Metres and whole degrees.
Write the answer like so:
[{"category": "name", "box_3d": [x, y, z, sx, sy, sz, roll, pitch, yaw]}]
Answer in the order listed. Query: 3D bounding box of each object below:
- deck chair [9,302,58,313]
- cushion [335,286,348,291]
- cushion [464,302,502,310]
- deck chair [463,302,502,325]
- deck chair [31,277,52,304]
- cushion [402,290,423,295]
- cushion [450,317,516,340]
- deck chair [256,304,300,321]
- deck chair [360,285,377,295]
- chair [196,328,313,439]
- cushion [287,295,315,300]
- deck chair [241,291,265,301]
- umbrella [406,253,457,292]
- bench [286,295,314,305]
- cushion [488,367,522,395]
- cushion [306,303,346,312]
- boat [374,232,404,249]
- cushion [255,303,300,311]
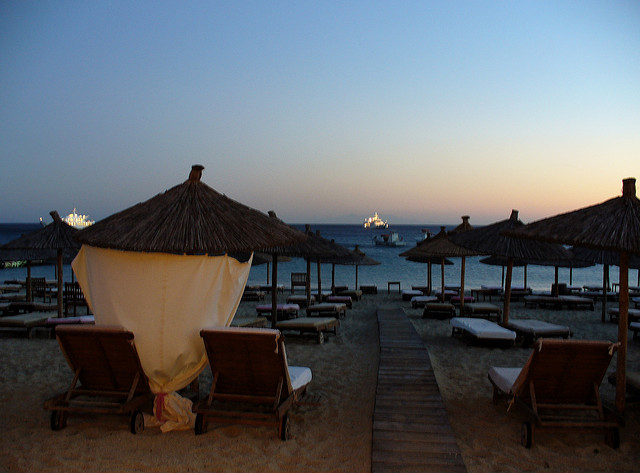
[{"category": "deck chair", "box_3d": [-8.685, 2.151, 17.336, 1.198, 0.417, 1.236, -1, 1, -31]}, {"category": "cushion", "box_3d": [0.943, 2.273, 25.210, 0.506, 0.154, 0.959, -1, 0, 5]}, {"category": "cushion", "box_3d": [4.769, 2.048, 16.918, 0.593, 0.156, 0.639, 2, 0, 9]}, {"category": "deck chair", "box_3d": [4.744, 2.197, 16.867, 0.797, 0.442, 0.670, 0, -1, -2]}, {"category": "deck chair", "box_3d": [-9.838, 1.901, 20.304, 0.611, 0.913, 3.038, -1, 1, -26]}, {"category": "cushion", "box_3d": [3.556, 2.151, 22.342, 0.598, 0.091, 1.914, -1, 0, 4]}, {"category": "cushion", "box_3d": [4.015, 2.283, 14.222, 0.890, 0.305, 1.546, -1, 1, -17]}, {"category": "deck chair", "box_3d": [-1.250, 2.265, 16.935, 0.818, 0.408, 0.891, 0, 0, 11]}, {"category": "deck chair", "box_3d": [2.200, 2.363, 25.306, 0.993, 0.344, 0.534, -1, 1, -31]}, {"category": "chair", "box_3d": [-1.199, 2.452, 10.666, 1.674, 2.040, 1.845, -1, -4, 15]}, {"category": "cushion", "box_3d": [-0.667, 2.158, 20.244, 0.496, 0.135, 0.528, 0, 1, 10]}, {"category": "deck chair", "box_3d": [-2.533, 2.318, 22.668, 1.061, 0.337, 0.830, -1, 1, 33]}, {"category": "umbrella", "box_3d": [4.472, 1.459, 23.102, 1.790, 1.727, 1.856, 17, 8, 33]}, {"category": "bench", "box_3d": [-0.682, 2.254, 20.321, 0.920, 0.264, 1.028, -1, 1, -1]}, {"category": "cushion", "box_3d": [3.406, 2.684, 10.683, 0.383, 0.141, 0.408, 12, 41, 39]}, {"category": "cushion", "box_3d": [0.206, 2.147, 17.273, 0.764, 0.216, 1.393, -1, 1, 29]}, {"category": "boat", "box_3d": [10.737, 0.782, 90.351, 2.619, 2.020, 5.036, 0, 0, -26]}, {"category": "cushion", "box_3d": [-1.266, 2.174, 17.629, 0.742, 0.198, 0.798, -1, -4, 14]}]
